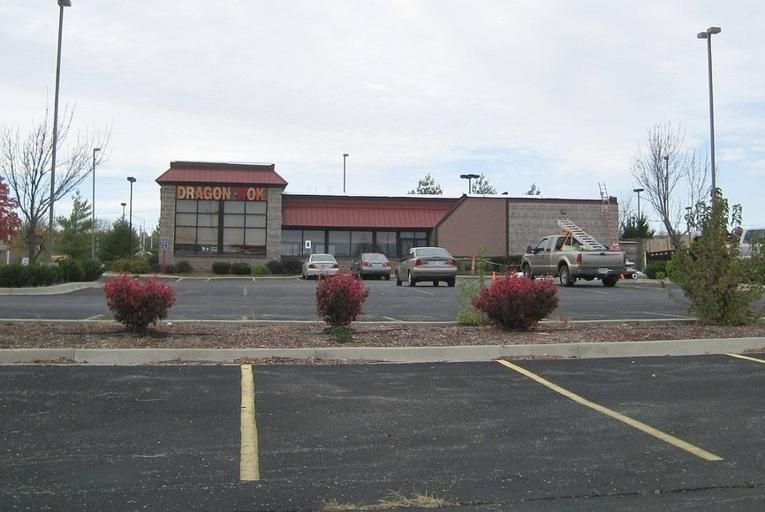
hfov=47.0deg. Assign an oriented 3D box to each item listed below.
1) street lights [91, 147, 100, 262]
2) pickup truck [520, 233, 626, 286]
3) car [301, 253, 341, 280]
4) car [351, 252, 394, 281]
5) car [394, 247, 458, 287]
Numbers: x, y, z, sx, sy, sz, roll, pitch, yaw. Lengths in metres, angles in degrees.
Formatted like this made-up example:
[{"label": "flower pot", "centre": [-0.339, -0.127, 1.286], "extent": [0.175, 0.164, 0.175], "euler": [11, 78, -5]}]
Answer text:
[{"label": "street lights", "centre": [-7.575, -1.377, 23.303], "extent": [0.339, 2.890, 0.324], "euler": [-1, -1, -26]}, {"label": "pickup truck", "centre": [7.116, 0.231, 33.718], "extent": [2.505, 1.853, 4.651], "euler": [0, 4, -22]}, {"label": "car", "centre": [-2.960, 0.481, 42.263], "extent": [1.335, 1.075, 3.211], "euler": [-1, 3, -10]}, {"label": "car", "centre": [-0.468, 0.675, 42.244], "extent": [1.329, 1.249, 1.829], "euler": [-5, 12, -27]}, {"label": "car", "centre": [1.643, 0.529, 33.817], "extent": [1.775, 1.585, 2.283], "euler": [-3, 11, -16]}]
